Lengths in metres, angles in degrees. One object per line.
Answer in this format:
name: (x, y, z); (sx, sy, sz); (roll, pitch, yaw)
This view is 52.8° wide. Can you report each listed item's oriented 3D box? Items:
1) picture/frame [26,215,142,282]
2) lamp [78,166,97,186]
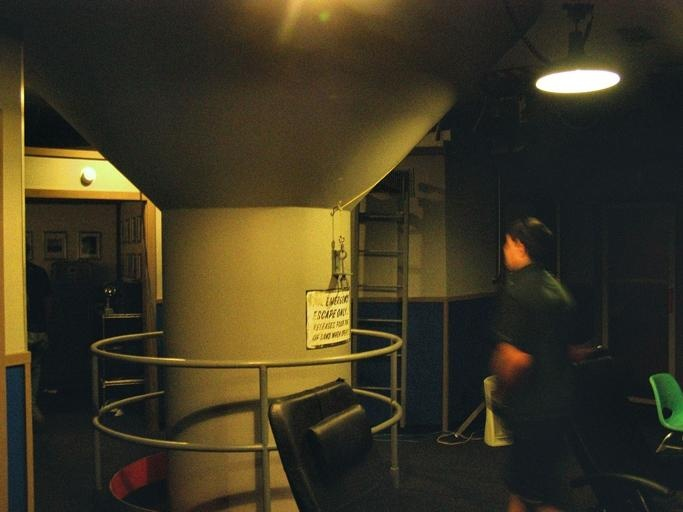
picture/frame: (-3.105, -0.159, 8.231); (1.018, 1.140, 2.157); (-1, -2, -31)
lamp: (-2.274, -0.723, 6.230); (0.155, 0.167, 0.152); (-19, 48, -36)
